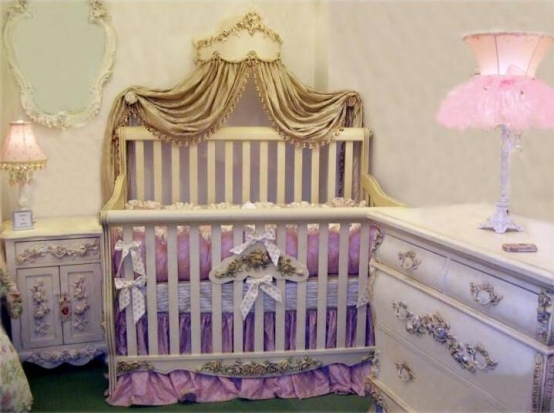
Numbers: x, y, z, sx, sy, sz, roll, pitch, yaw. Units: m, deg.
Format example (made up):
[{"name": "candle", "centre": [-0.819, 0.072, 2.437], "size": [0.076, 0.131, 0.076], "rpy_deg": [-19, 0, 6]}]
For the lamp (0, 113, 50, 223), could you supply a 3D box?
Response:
[{"name": "lamp", "centre": [-1.486, -0.205, 3.265], "size": [0.250, 0.638, 0.418], "rpy_deg": [-4, 4, -24]}]

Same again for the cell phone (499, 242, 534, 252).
[{"name": "cell phone", "centre": [0.877, 0.149, 2.017], "size": [0.140, 0.031, 0.082], "rpy_deg": [-5, 4, -29]}]

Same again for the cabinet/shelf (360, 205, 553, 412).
[{"name": "cabinet/shelf", "centre": [0.711, 0.395, 2.115], "size": [0.523, 0.877, 0.702], "rpy_deg": [-6, 12, -32]}]

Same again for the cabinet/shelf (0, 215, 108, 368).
[{"name": "cabinet/shelf", "centre": [-1.164, 0.435, 3.431], "size": [0.762, 1.039, 0.743], "rpy_deg": [-1, 2, -10]}]

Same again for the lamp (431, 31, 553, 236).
[{"name": "lamp", "centre": [0.847, -0.345, 2.526], "size": [0.627, 1.000, 0.669], "rpy_deg": [2, 10, 21]}]

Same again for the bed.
[{"name": "bed", "centre": [-0.140, 0.215, 3.247], "size": [1.702, 1.457, 1.463], "rpy_deg": [-2, 4, 6]}]
